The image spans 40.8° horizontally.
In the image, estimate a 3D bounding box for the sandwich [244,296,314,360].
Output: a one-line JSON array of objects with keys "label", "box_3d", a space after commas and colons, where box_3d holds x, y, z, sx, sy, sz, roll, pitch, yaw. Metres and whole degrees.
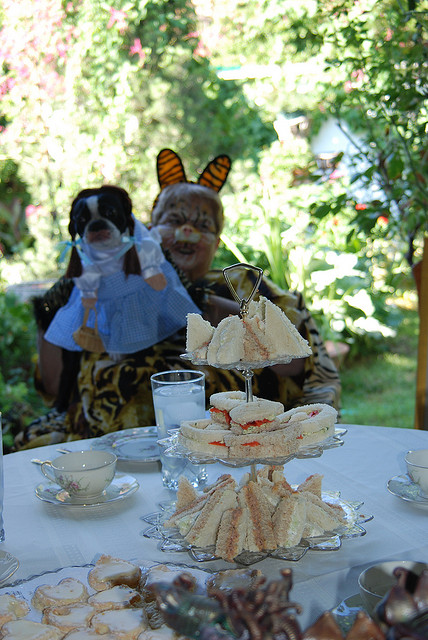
[{"label": "sandwich", "box_3d": [0.080, 0.009, 0.728, 0.082, 0.080, 0.056, 1, 0, 7]}]

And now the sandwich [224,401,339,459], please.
[{"label": "sandwich", "box_3d": [0.080, 0.130, 0.685, 0.091, 0.019, 0.085, -4, 6, 13]}]

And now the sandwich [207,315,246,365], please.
[{"label": "sandwich", "box_3d": [0.014, 0.024, 0.703, 0.043, 0.059, 0.058, 1, 0, 22]}]

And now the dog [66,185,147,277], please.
[{"label": "dog", "box_3d": [-0.282, -0.211, 1.475, 0.236, 0.233, 0.186, -13, 7, -8]}]

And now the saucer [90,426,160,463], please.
[{"label": "saucer", "box_3d": [-0.158, 0.227, 1.047, 0.139, 0.016, 0.129, 0, 7, 0]}]

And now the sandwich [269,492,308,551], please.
[{"label": "sandwich", "box_3d": [0.086, 0.227, 0.648, 0.036, 0.062, 0.018, 18, -33, -11]}]

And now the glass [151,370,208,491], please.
[{"label": "glass", "box_3d": [-0.059, 0.160, 0.903, 0.095, 0.181, 0.078, -6, 7, -19]}]

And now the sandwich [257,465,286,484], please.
[{"label": "sandwich", "box_3d": [0.079, 0.205, 0.773, 0.030, 0.016, 0.037, 1, 3, -7]}]

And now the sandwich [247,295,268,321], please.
[{"label": "sandwich", "box_3d": [0.058, -0.016, 0.777, 0.030, 0.036, 0.017, -19, 27, 0]}]

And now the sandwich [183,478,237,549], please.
[{"label": "sandwich", "box_3d": [-0.004, 0.227, 0.676, 0.016, 0.061, 0.066, 27, -4, -6]}]

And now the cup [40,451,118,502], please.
[{"label": "cup", "box_3d": [-0.206, 0.233, 0.857, 0.119, 0.047, 0.086, 0, 6, 14]}]

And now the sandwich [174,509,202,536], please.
[{"label": "sandwich", "box_3d": [-0.031, 0.239, 0.678, 0.027, 0.008, 0.025, -29, 25, 21]}]

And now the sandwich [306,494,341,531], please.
[{"label": "sandwich", "box_3d": [0.127, 0.232, 0.706, 0.043, 0.011, 0.039, 33, 0, 4]}]

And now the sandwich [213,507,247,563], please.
[{"label": "sandwich", "box_3d": [0.017, 0.238, 0.640, 0.032, 0.051, 0.037, 1, 0, 9]}]

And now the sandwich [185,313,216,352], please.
[{"label": "sandwich", "box_3d": [-0.018, 0.016, 0.761, 0.036, 0.050, 0.055, 1, 0, -2]}]

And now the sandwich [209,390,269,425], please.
[{"label": "sandwich", "box_3d": [0.030, 0.113, 0.734, 0.105, 0.030, 0.096, -1, 4, -8]}]
